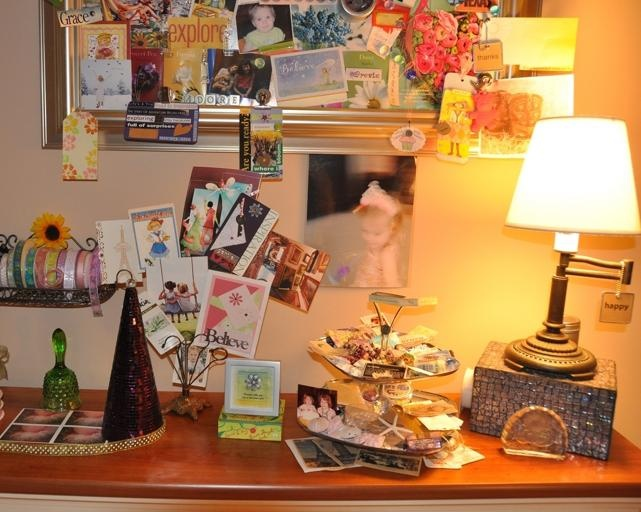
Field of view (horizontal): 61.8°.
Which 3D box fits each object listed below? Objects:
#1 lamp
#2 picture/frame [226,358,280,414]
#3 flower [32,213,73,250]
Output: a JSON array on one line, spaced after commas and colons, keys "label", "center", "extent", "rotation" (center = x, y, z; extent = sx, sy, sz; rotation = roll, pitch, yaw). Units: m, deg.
[{"label": "lamp", "center": [0.671, -0.023, 1.417], "extent": [0.306, 0.678, 0.223], "rotation": [-4, 12, -20]}, {"label": "picture/frame", "center": [-0.186, 0.362, 1.472], "extent": [0.149, 0.142, 0.015], "rotation": [2, -4, 1]}, {"label": "flower", "center": [-0.791, -0.079, 1.576], "extent": [0.116, 0.103, 0.087], "rotation": [-2, 11, -13]}]
